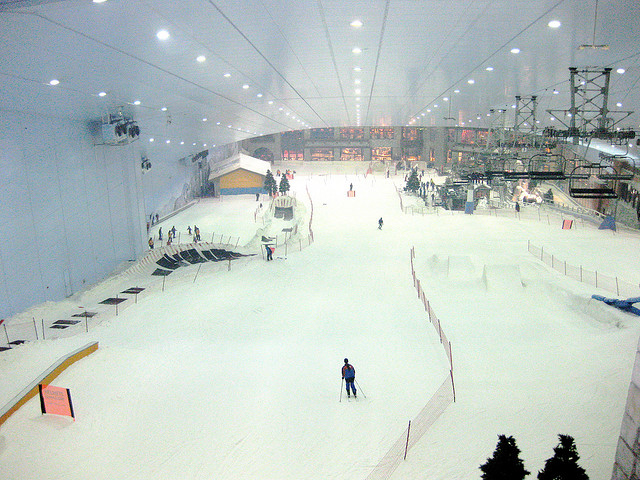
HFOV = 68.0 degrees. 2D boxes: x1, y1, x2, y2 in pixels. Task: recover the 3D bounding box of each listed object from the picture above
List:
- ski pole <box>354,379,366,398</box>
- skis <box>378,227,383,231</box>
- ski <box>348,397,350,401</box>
[{"bbox_3d":[1.213,4.488,14.270,0.079,0.691,0.052,-21,-21,-52],"label":"ski pole"},{"bbox_3d":[4.779,-0.880,37.359,0.292,0.300,0.068,-14,-8,39],"label":"skis"},{"bbox_3d":[0.859,4.652,13.847,0.066,0.123,0.066,1,-16,-16],"label":"ski"}]
